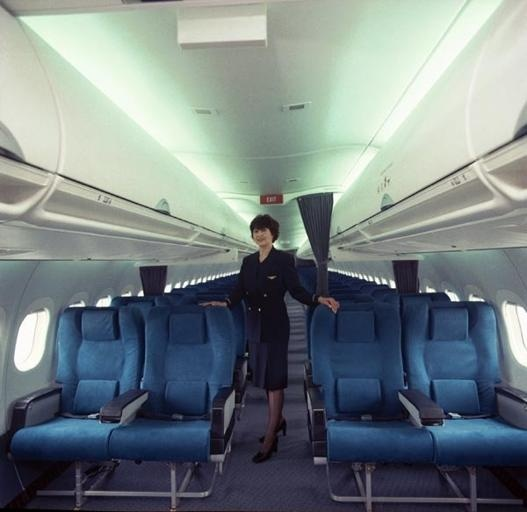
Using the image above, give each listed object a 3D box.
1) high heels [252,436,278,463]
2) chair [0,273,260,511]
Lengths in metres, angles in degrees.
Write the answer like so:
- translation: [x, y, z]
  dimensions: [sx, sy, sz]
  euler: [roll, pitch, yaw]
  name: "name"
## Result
- translation: [0.018, 1.638, 3.495]
  dimensions: [0.099, 0.158, 0.313]
  euler: [-14, -19, 32]
  name: "high heels"
- translation: [-1.036, 1.149, 3.364]
  dimensions: [1.613, 1.455, 1.254]
  euler: [-1, 4, 3]
  name: "chair"
